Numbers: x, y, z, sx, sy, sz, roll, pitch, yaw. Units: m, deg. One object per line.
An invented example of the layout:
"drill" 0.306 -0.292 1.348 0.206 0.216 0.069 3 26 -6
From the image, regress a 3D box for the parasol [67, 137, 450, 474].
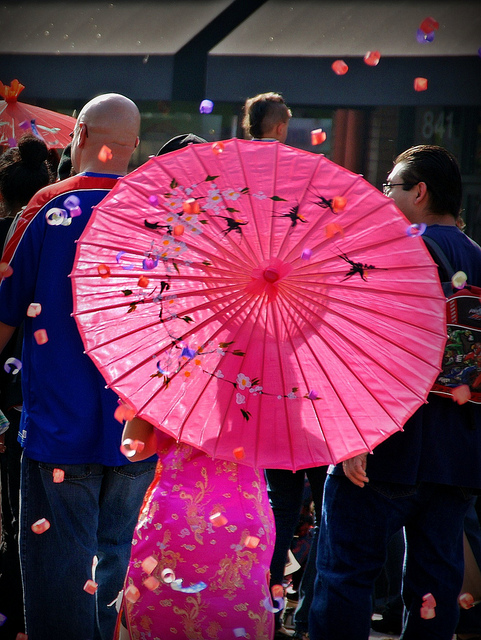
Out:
"parasol" 0.066 -0.079 1.975 0.996 0.788 0.045 -5 -8 -17
